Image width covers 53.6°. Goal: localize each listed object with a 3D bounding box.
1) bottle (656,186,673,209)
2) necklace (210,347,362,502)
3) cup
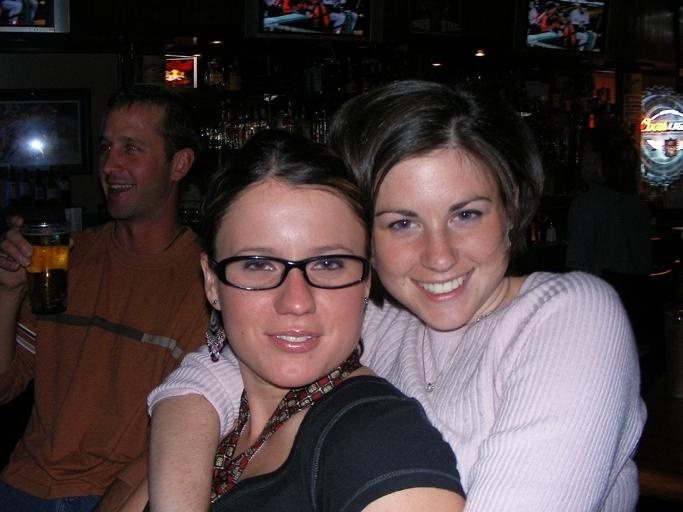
[{"bbox_3d":[4.525,-0.827,9.475,0.211,0.265,0.661,5,8,24],"label":"bottle"},{"bbox_3d":[-0.194,0.585,2.416,0.346,0.624,0.321,43,-11,20],"label":"necklace"},{"bbox_3d":[-1.333,0.054,3.080,0.192,0.412,0.132,-3,10,-28],"label":"cup"}]
